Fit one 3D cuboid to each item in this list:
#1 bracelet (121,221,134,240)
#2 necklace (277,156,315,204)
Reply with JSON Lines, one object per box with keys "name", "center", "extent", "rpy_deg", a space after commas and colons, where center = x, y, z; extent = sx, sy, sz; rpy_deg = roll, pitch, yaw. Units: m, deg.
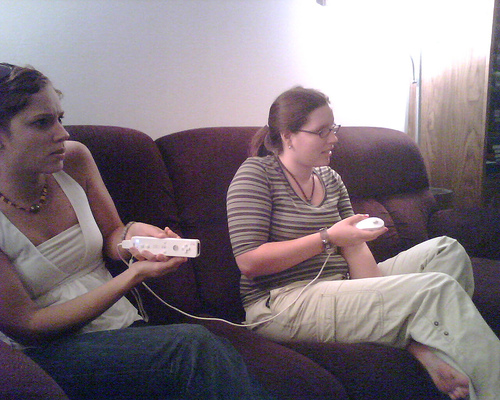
{"name": "bracelet", "center": [-0.382, 0.093, 1.334], "extent": [0.038, 0.047, 0.018], "rpy_deg": [7, -19, -7]}
{"name": "necklace", "center": [0.176, -0.059, 1.495], "extent": [0.116, 0.171, 0.017], "rpy_deg": [-41, 8, -39]}
